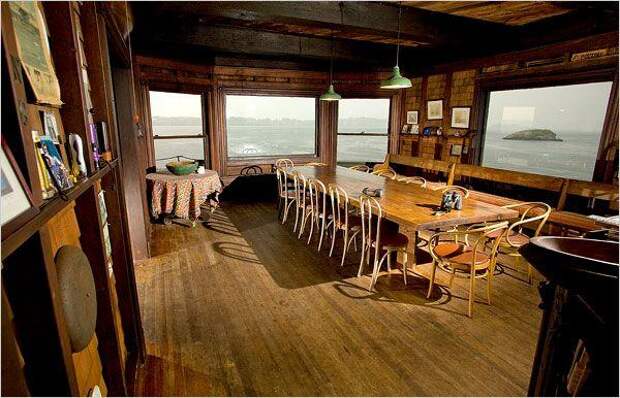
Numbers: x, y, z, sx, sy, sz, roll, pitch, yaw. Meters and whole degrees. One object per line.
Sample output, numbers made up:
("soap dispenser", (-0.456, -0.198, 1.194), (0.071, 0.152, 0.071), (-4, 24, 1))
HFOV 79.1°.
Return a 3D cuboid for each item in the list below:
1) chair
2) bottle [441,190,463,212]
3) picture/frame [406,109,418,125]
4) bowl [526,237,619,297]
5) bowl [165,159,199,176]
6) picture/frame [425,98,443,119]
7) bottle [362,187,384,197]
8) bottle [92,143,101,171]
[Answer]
("chair", (1.026, 0.303, 4.805), (1.630, 1.101, 3.033), (-7, 15, -32))
("bottle", (1.488, 0.015, 3.994), (0.270, 0.147, 0.173), (0, -1, -40))
("picture/frame", (2.109, -1.700, 7.722), (0.034, 0.303, 0.383), (1, 3, -33))
("bowl", (1.376, 0.358, 1.996), (0.427, 0.285, 0.339), (11, 17, 37))
("bowl", (-1.921, -0.492, 5.774), (0.379, 0.135, 0.376), (-1, 6, 0))
("picture/frame", (2.388, -1.741, 7.198), (0.052, 0.446, 0.485), (-3, 6, -34))
("bottle", (0.748, -0.080, 4.499), (0.190, 0.065, 0.137), (3, 11, 16))
("bottle", (-1.343, -0.269, 2.358), (0.025, 0.160, 0.164), (-6, 16, -25))
